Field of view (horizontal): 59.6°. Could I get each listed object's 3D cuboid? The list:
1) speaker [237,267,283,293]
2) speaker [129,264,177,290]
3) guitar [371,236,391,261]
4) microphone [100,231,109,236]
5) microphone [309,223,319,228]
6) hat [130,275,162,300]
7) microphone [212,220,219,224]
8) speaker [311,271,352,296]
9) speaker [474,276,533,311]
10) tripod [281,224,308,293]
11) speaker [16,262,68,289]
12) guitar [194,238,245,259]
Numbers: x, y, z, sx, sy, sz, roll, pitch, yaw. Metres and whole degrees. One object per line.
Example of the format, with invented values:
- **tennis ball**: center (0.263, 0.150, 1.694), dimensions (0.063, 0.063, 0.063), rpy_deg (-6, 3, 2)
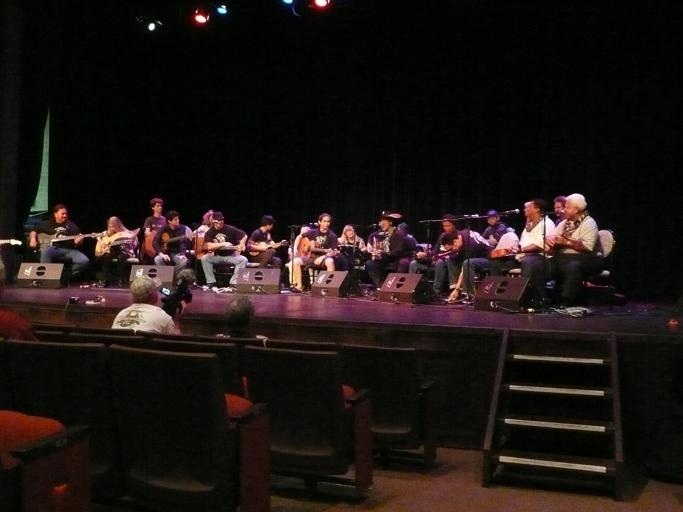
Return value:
- **speaker**: center (-1.126, 0.332, 8.237), dimensions (0.583, 0.327, 0.359), rpy_deg (1, 2, 27)
- **speaker**: center (-2.158, 0.232, 6.895), dimensions (0.315, 0.207, 0.159), rpy_deg (2, -40, -4)
- **guitar**: center (0.568, -0.117, 8.598), dimensions (0.254, 0.324, 0.123), rpy_deg (-7, -28, 41)
- **microphone**: center (-3.667, -0.353, 9.261), dimensions (0.232, 0.081, 0.168), rpy_deg (3, 6, 39)
- **microphone**: center (-0.422, -0.486, 9.224), dimensions (0.137, 0.041, 0.133), rpy_deg (-1, 0, -8)
- **hat**: center (-1.487, 0.239, 4.545), dimensions (0.171, 0.182, 0.198), rpy_deg (6, 19, -3)
- **microphone**: center (-1.915, -0.525, 9.099), dimensions (0.081, 0.054, 0.044), rpy_deg (1, 5, 12)
- **speaker**: center (-0.101, 0.360, 7.751), dimensions (0.364, 0.213, 0.371), rpy_deg (2, 1, 40)
- **speaker**: center (1.626, 0.380, 6.068), dimensions (0.489, 0.351, 0.348), rpy_deg (5, 4, 36)
- **tripod**: center (-0.683, 0.105, 9.382), dimensions (0.132, 0.893, 0.439), rpy_deg (0, 16, -40)
- **speaker**: center (-4.224, 0.273, 8.405), dimensions (0.534, 0.291, 0.391), rpy_deg (1, 2, 11)
- **guitar**: center (-1.876, -0.139, 9.123), dimensions (0.714, 0.202, 0.370), rpy_deg (1, 1, 14)
